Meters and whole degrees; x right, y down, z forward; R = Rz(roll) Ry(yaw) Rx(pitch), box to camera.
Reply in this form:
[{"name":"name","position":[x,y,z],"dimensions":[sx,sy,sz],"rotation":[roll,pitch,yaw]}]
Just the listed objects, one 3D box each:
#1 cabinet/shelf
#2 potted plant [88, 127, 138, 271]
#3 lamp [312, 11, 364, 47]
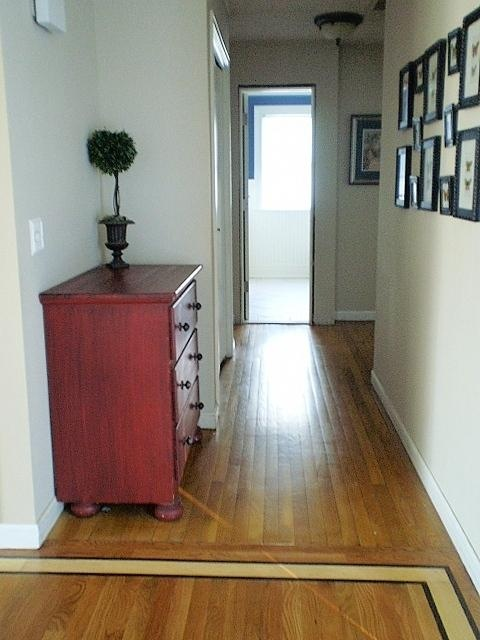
[{"name":"cabinet/shelf","position":[-0.457,0.118,2.066],"dimensions":[0.430,0.909,0.854],"rotation":[2,26,-4]},{"name":"potted plant","position":[-0.559,-0.546,2.258],"dimensions":[0.203,0.630,0.332],"rotation":[-2,7,-10]},{"name":"lamp","position":[0.720,-2.196,3.794],"dimensions":[0.190,0.129,0.207],"rotation":[-3,5,-19]}]
